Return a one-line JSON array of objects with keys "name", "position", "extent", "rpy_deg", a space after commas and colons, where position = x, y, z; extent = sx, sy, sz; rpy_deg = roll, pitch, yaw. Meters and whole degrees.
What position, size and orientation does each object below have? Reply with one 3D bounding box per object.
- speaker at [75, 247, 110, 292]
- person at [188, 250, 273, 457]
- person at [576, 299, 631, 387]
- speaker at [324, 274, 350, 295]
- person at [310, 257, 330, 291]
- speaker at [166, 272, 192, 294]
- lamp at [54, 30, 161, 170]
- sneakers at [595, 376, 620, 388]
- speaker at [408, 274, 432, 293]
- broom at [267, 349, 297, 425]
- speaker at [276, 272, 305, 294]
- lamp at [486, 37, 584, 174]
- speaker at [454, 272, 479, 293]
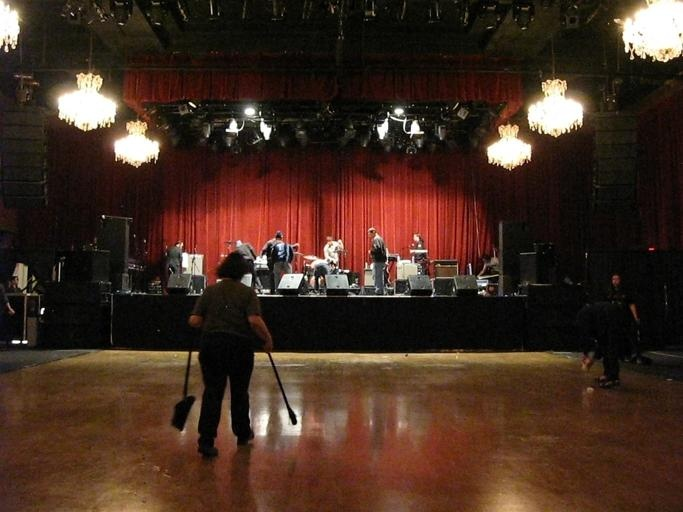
[{"name": "speaker", "position": [-4.413, 0.184, 10.995], "extent": [0.522, 0.838, 0.555], "rpy_deg": [-1, -1, -19]}, {"name": "person", "position": [-1.080, 0.919, 5.958], "extent": [0.715, 1.913, 0.396], "rpy_deg": [0, 3, -16]}, {"name": "person", "position": [3.498, 1.168, 8.359], "extent": [0.447, 1.111, 0.626], "rpy_deg": [-2, 4, -42]}, {"name": "speaker", "position": [-0.088, 0.469, 10.994], "extent": [0.368, 0.345, 0.375], "rpy_deg": [-3, 32, -9]}, {"name": "person", "position": [-0.428, 0.403, 14.188], "extent": [0.304, 0.872, 0.419], "rpy_deg": [-11, 24, -16]}, {"name": "speaker", "position": [-2.895, 0.491, 11.012], "extent": [0.369, 0.408, 0.338], "rpy_deg": [0, -8, -6]}, {"name": "lamp", "position": [-4.989, -3.309, 13.726], "extent": [1.674, 2.299, 4.361], "rpy_deg": [0, 3, -16]}, {"name": "sneakers", "position": [3.492, 1.665, 8.251], "extent": [0.341, 0.177, 0.134], "rpy_deg": [-5, -6, 18]}, {"name": "speaker", "position": [1.377, 0.502, 10.912], "extent": [0.378, 0.336, 0.286], "rpy_deg": [0, 3, -5]}, {"name": "broom", "position": [-0.612, 1.407, 6.386], "extent": [0.045, 1.070, 0.164], "rpy_deg": [18, 44, 40]}, {"name": "speaker", "position": [-0.894, 0.465, 10.962], "extent": [0.365, 0.393, 0.378], "rpy_deg": [-1, -14, 10]}, {"name": "lamp", "position": [4.259, -3.446, 13.766], "extent": [0.586, 1.739, 1.585], "rpy_deg": [15, -22, -13]}, {"name": "speaker", "position": [2.162, 0.401, 10.836], "extent": [0.327, 0.304, 0.265], "rpy_deg": [2, 25, -5]}]
